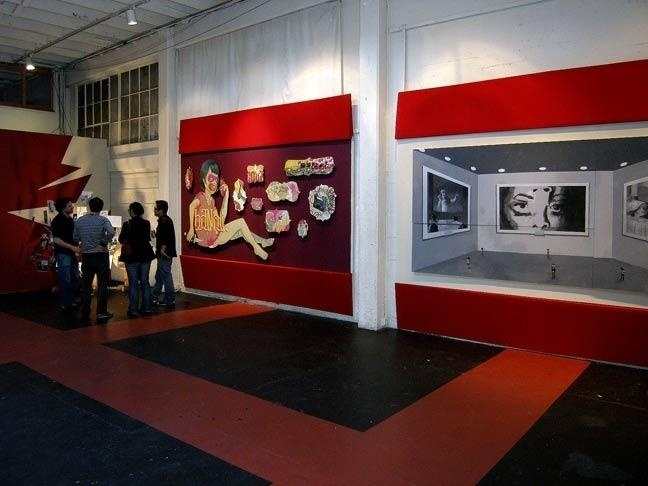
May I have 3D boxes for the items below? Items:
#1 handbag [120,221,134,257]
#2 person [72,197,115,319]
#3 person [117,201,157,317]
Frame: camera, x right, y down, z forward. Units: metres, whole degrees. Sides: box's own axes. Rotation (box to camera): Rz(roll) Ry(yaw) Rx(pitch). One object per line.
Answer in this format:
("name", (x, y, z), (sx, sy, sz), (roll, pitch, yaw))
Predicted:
("handbag", (-3.162, -0.022, 7.050), (0.149, 0.479, 0.318), (-1, 0, -12))
("person", (-3.619, 0.236, 6.990), (0.528, 1.876, 0.728), (-4, 7, -31))
("person", (-3.057, 0.241, 7.274), (0.509, 1.812, 0.553), (-3, 7, -24))
